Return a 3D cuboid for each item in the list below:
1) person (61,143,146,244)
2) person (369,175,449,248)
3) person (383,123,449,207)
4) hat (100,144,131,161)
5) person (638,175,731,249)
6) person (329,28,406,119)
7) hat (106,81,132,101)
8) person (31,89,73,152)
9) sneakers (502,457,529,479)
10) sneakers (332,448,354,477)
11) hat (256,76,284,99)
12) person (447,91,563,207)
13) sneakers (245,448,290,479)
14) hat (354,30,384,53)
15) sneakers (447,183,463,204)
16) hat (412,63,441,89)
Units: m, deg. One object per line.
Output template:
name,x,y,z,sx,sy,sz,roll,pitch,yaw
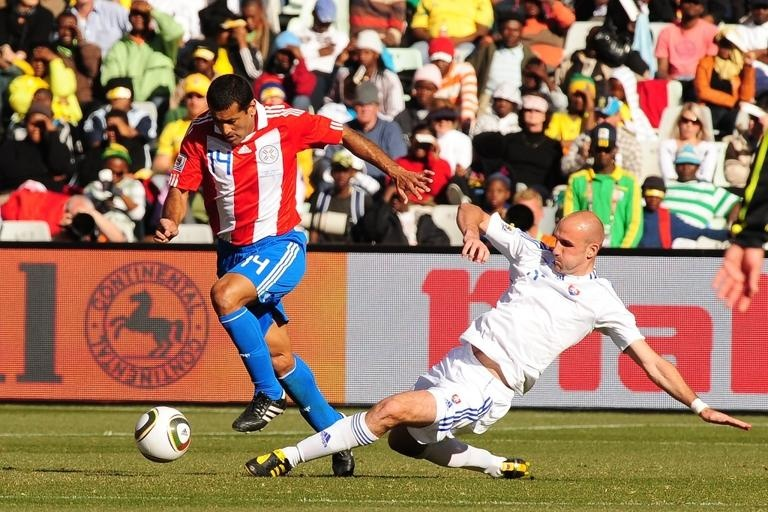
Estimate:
person,-3.496,-0.769,20.684,0.857,1.158,1.623,2,11,-4
person,0.120,-0.465,20.179,1.057,0.342,1.101,-16,-25,-15
person,0.399,-1.097,20.014,0.957,1.346,0.755,-2,-13,6
hat,-3.467,-1.369,21.217,0.261,0.210,0.273,9,9,28
person,3.687,-0.519,20.361,0.983,0.330,1.045,2,42,8
person,-0.166,-2.532,22.498,0.918,1.346,0.385,4,-8,8
hat,-3.651,-2.323,22.635,0.338,0.275,0.257,1,11,-11
person,-4.434,-1.912,22.582,0.344,0.838,0.300,-24,-26,-28
sneakers,1.333,2.188,16.724,0.271,0.168,0.120,0,-21,-17
sneakers,-0.420,2.147,16.719,0.299,0.308,0.186,-3,-3,41
hat,-1.570,-2.345,22.347,0.293,0.333,0.410,-1,-6,-3
person,1.558,-1.357,21.290,1.364,1.157,0.853,14,-2,21
sneakers,-1.142,2.072,16.425,0.535,0.262,0.198,-3,32,-9
hat,-0.217,-2.969,22.568,0.311,0.251,0.325,11,-1,8
sneakers,0.874,-0.789,20.742,0.131,0.308,0.129,-19,-11,26
hat,0.591,-2.501,22.332,0.315,0.262,0.326,5,-9,-1
